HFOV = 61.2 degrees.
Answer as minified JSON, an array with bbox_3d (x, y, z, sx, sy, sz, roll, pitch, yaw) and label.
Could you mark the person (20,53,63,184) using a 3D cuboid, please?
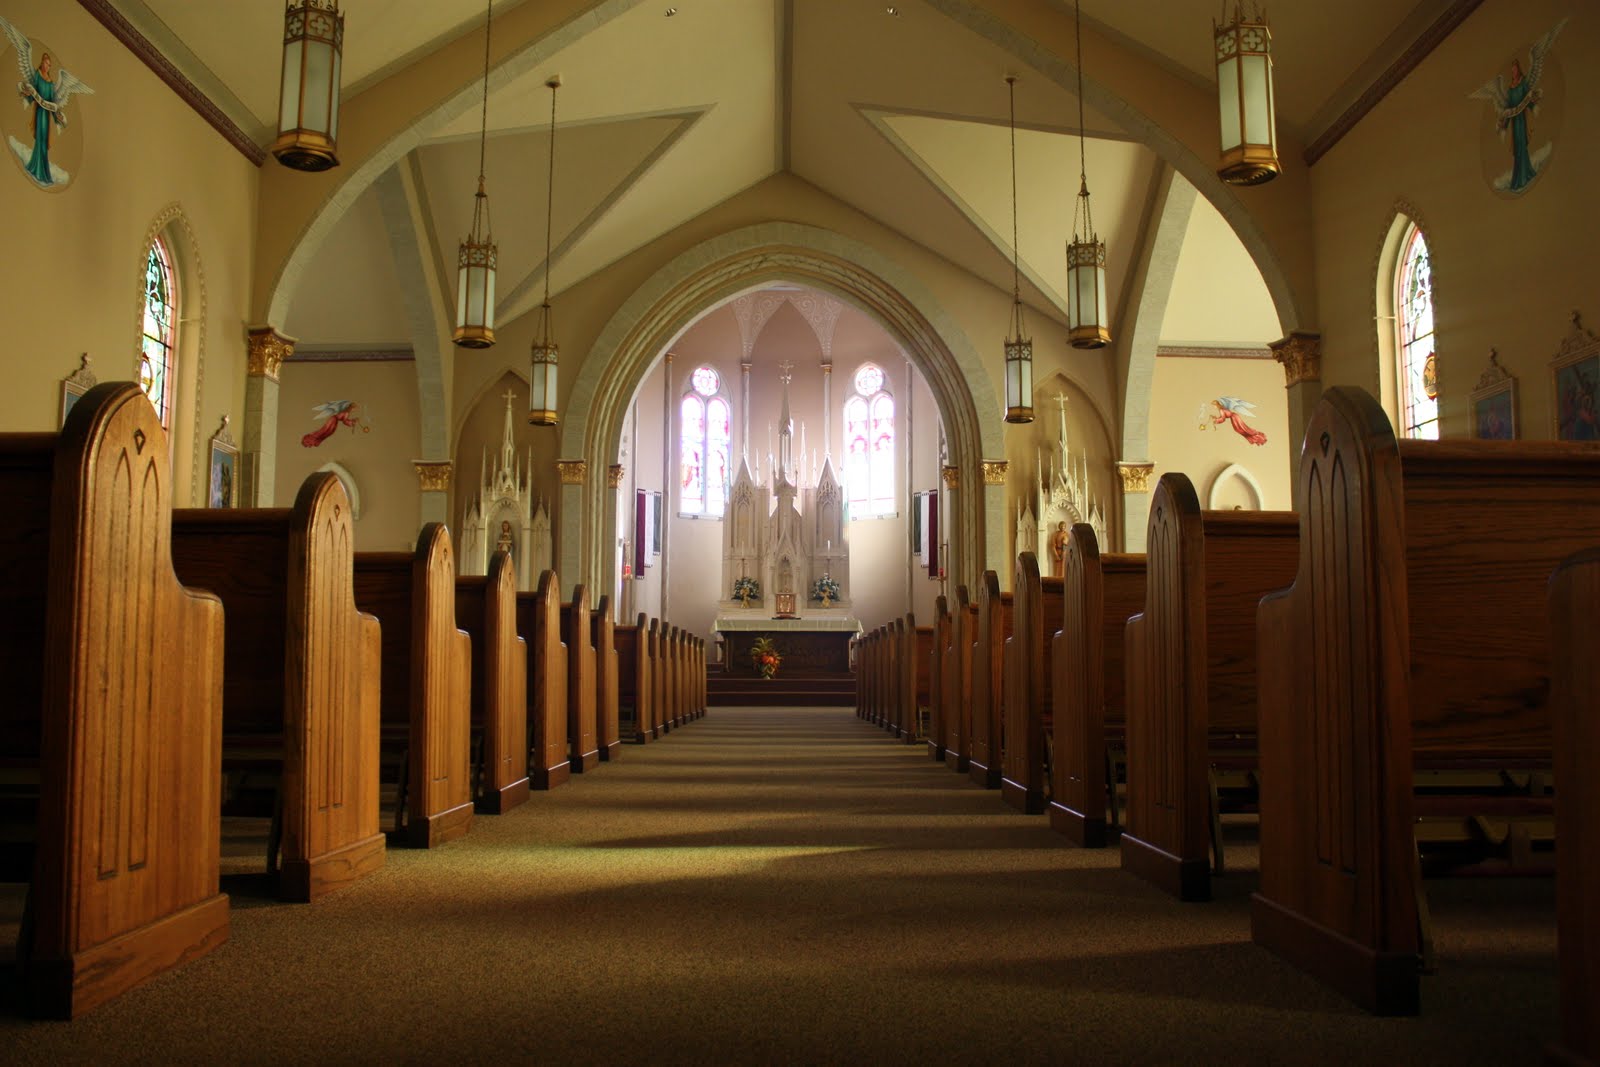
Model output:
[{"bbox_3d":[-5.100,-2.756,9.087,0.104,0.827,0.458,0,1,-5],"label":"person"}]
